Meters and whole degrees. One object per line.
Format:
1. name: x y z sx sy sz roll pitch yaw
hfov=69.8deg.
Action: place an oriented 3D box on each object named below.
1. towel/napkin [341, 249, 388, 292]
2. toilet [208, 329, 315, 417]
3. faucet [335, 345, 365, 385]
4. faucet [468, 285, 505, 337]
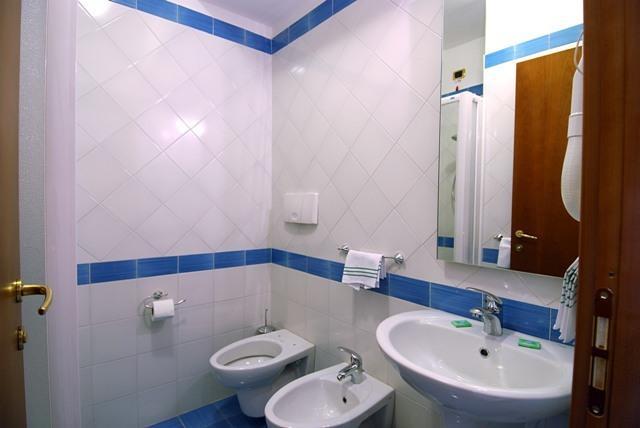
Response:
1. towel/napkin: 0.252 0.307 2.577 0.231 0.191 0.095 -2 -12 38
2. toilet: -0.362 0.969 2.945 0.622 0.426 0.414 -5 11 -43
3. faucet: 0.166 0.834 2.531 0.069 0.217 0.205 -1 0 41
4. faucet: 0.760 0.448 2.095 0.185 0.217 0.096 -2 3 -33
